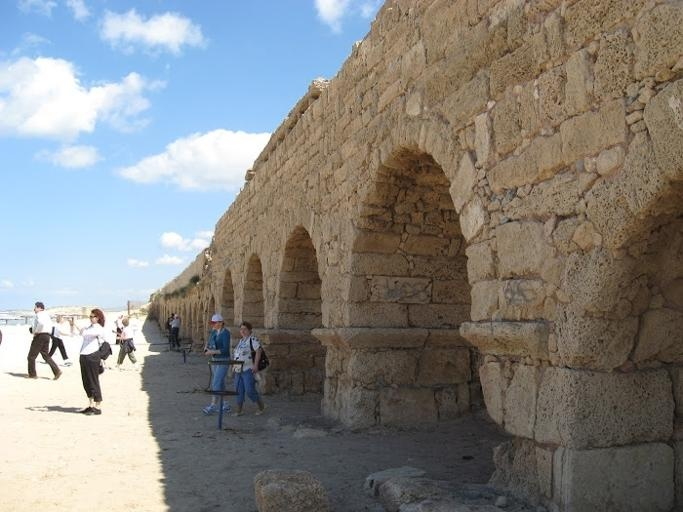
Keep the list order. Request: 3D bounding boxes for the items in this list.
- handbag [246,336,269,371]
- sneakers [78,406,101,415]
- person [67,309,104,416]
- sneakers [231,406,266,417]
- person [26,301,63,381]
[{"bbox_3d":[-0.955,1.122,7.725,0.222,0.375,0.532,3,-9,-8],"label":"handbag"},{"bbox_3d":[-2.938,1.817,7.888,0.189,0.080,0.101,10,-8,-12],"label":"sneakers"},{"bbox_3d":[-2.973,1.225,7.826,0.454,1.181,0.352,6,-14,-40],"label":"person"},{"bbox_3d":[-1.069,1.803,7.824,0.354,0.146,0.120,5,-12,-8],"label":"sneakers"},{"bbox_3d":[-4.585,1.286,10.358,0.575,1.188,0.470,-1,-7,4],"label":"person"}]
